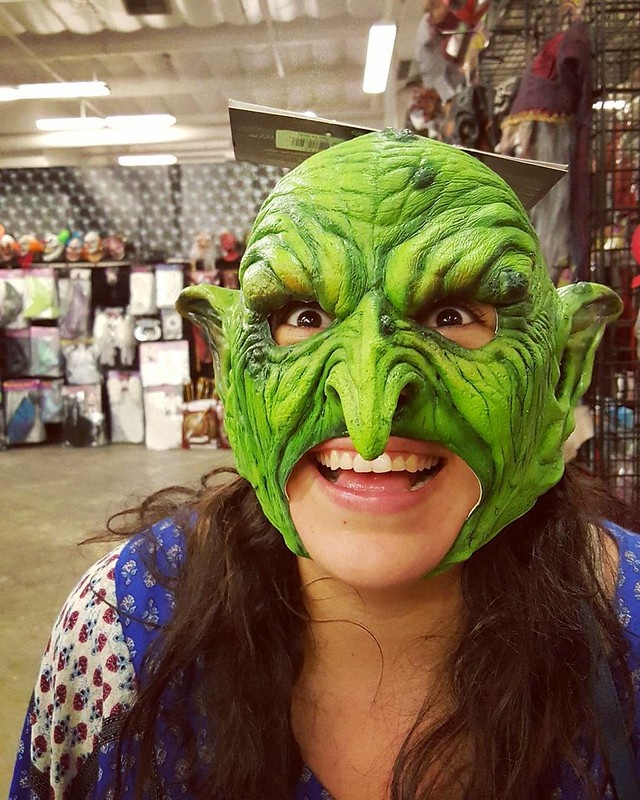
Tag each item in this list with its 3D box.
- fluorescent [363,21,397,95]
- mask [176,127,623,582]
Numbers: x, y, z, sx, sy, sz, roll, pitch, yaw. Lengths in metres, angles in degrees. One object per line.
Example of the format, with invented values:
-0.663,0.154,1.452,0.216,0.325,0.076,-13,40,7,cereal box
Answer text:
0.172,-1.014,2.203,0.080,0.010,0.231,-4,-23,-5,fluorescent
0.136,-0.072,1.130,0.538,0.669,0.302,-5,3,-9,mask
